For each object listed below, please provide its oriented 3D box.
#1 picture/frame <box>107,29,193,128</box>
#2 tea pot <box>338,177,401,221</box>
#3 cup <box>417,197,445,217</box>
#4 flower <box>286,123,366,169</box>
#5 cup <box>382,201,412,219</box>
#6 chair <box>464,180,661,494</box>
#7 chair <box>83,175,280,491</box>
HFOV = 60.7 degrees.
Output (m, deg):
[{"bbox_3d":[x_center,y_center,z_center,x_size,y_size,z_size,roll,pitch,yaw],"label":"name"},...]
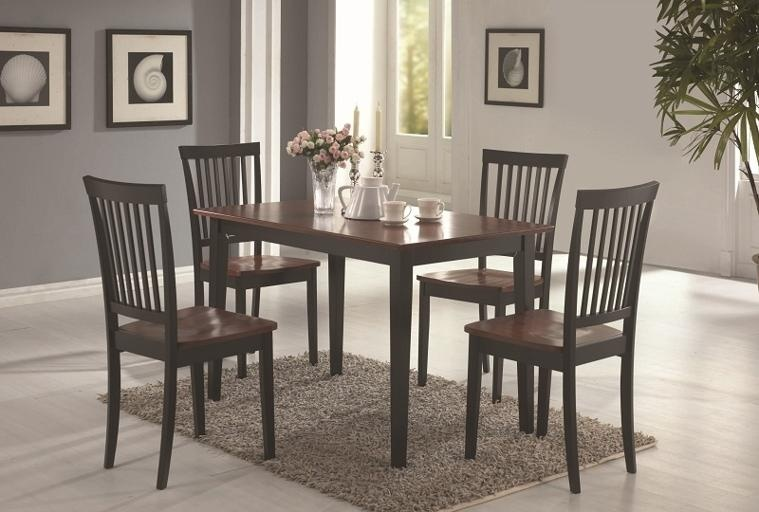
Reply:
[{"bbox_3d":[-1.952,-1.492,5.402,0.909,1.016,0.051,-2,5,-34],"label":"picture/frame"},{"bbox_3d":[-0.053,-0.296,3.350,0.289,0.172,0.237,0,6,4],"label":"tea pot"},{"bbox_3d":[0.264,-0.246,3.260,0.117,0.079,0.091,1,7,-1],"label":"cup"},{"bbox_3d":[-0.258,-0.573,3.416,0.306,0.180,0.275,-5,5,-38],"label":"flower"},{"bbox_3d":[0.082,-0.228,3.151,0.116,0.078,0.089,3,7,8],"label":"cup"},{"bbox_3d":[1.102,0.135,3.509,0.734,1.220,2.244,6,14,23],"label":"chair"},{"bbox_3d":[-0.875,0.283,2.774,0.841,1.225,0.622,-1,15,-5],"label":"chair"}]
